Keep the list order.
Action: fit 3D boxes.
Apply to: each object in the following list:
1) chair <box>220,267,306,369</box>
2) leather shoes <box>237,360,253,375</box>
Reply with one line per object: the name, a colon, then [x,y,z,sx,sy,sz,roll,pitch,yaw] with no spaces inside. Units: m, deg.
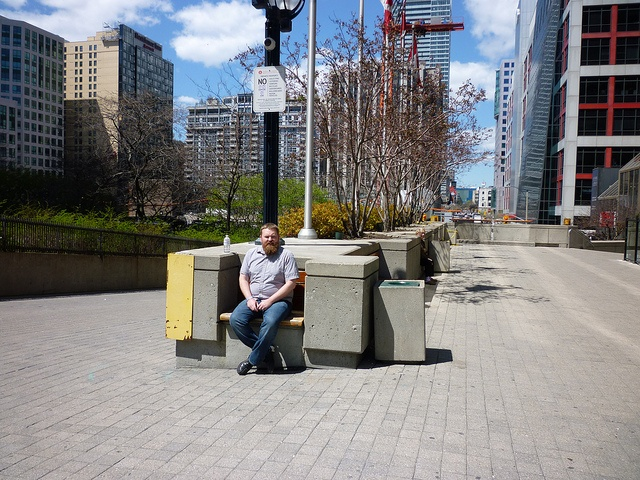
chair: [-0.867,1.176,8.176,1.258,1.364,0.788,-1,4,-4]
leather shoes: [-1.076,1.804,7.811,0.112,0.136,0.298,1,16,18]
